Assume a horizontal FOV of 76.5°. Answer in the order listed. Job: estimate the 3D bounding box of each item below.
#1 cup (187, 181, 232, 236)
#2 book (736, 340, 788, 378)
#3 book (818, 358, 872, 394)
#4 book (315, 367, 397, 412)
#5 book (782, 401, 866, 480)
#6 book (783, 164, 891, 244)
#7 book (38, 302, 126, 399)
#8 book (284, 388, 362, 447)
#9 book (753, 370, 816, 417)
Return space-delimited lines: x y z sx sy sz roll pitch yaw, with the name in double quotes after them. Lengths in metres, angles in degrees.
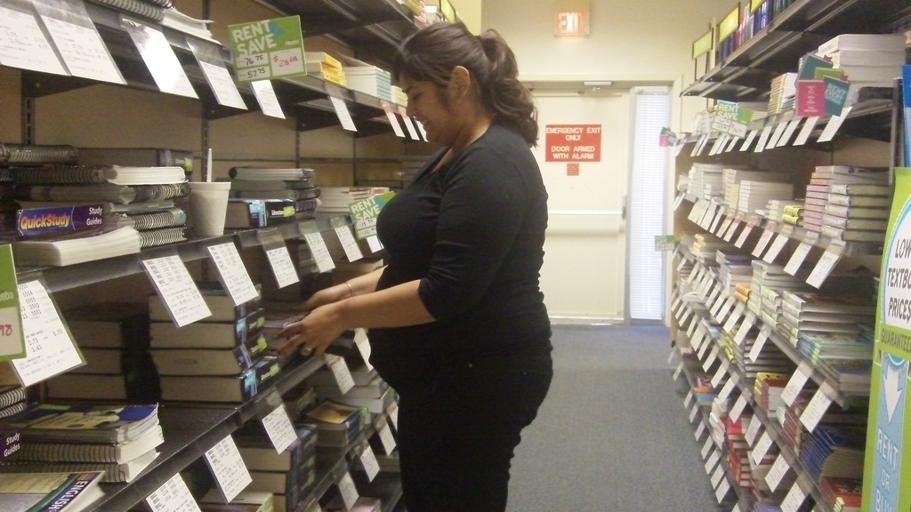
-0.957 -0.183 2.297 0.202 0.199 0.204 1 -1 0 "cup"
1.862 0.609 3.503 0.249 0.071 0.232 1 1 6 "book"
1.701 0.512 2.505 0.197 0.040 0.172 0 0 20 "book"
-0.557 0.697 3.076 0.469 0.096 0.440 4 2 9 "book"
1.729 0.850 2.714 0.269 0.097 0.324 1 3 -4 "book"
1.747 -0.239 2.656 0.380 0.296 0.503 3 4 4 "book"
-1.387 0.373 2.428 0.479 0.314 0.464 4 1 -21 "book"
-0.685 0.827 3.013 0.299 0.069 0.290 9 10 24 "book"
1.686 0.678 3.006 0.310 0.119 0.390 1 5 23 "book"
